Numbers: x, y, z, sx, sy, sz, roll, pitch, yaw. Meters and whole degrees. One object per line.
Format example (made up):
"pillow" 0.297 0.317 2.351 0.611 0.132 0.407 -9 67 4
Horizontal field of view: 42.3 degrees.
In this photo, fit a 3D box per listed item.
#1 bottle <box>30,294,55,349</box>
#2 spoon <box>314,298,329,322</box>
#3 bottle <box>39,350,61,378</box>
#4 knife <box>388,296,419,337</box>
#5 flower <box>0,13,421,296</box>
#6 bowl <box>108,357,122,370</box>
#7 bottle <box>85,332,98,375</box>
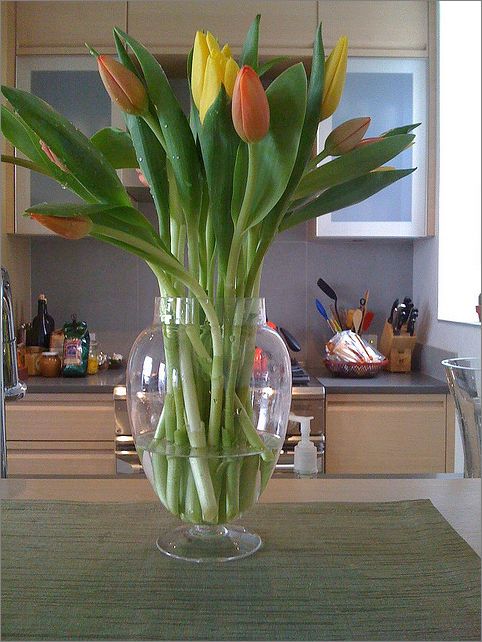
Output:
"bottle" -0.757 0.008 2.363 0.082 0.211 0.108 -1 4 -22
"spoon" 0.318 -0.049 2.434 0.024 0.155 0.020 -20 21 -1
"bottle" -0.689 0.155 2.214 0.090 0.091 0.050 1 4 15
"knife" 0.628 -0.022 2.402 0.101 0.270 0.123 0 2 6
"flower" -0.021 -0.135 0.539 0.240 0.263 0.300 -1 2 -2
"bowl" -0.488 0.163 2.436 0.060 0.042 0.054 -2 5 -24
"bottle" -0.556 0.137 2.334 0.041 0.104 0.180 -1 4 -13
